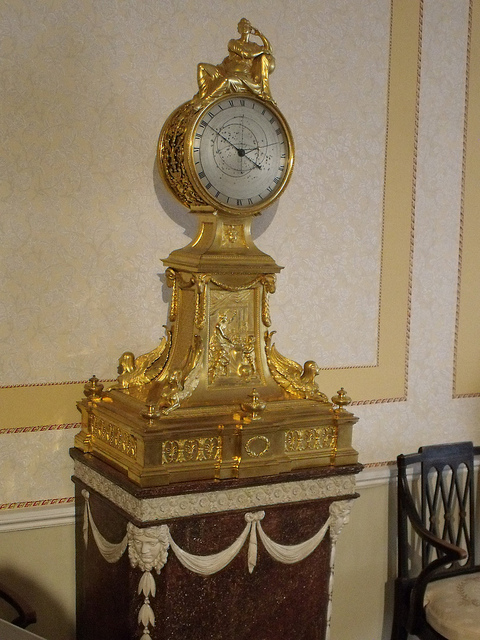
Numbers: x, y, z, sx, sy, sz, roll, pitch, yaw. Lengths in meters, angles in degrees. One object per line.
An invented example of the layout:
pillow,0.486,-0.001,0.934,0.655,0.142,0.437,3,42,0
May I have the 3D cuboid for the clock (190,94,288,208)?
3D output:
clock,-0.013,-0.439,2.404,0.284,0.298,0.049,12,2,-36
